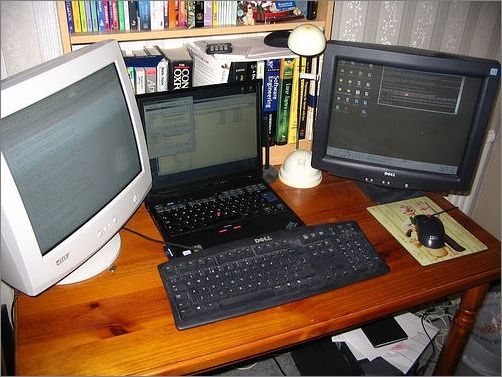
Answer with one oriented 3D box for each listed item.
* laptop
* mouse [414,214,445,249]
[{"bbox_3d":[-0.075,-0.067,1.213,0.539,0.384,0.464,-17,41,-33],"label":"laptop"},{"bbox_3d":[0.606,0.122,1.256,0.103,0.055,0.165,5,33,13],"label":"mouse"}]
